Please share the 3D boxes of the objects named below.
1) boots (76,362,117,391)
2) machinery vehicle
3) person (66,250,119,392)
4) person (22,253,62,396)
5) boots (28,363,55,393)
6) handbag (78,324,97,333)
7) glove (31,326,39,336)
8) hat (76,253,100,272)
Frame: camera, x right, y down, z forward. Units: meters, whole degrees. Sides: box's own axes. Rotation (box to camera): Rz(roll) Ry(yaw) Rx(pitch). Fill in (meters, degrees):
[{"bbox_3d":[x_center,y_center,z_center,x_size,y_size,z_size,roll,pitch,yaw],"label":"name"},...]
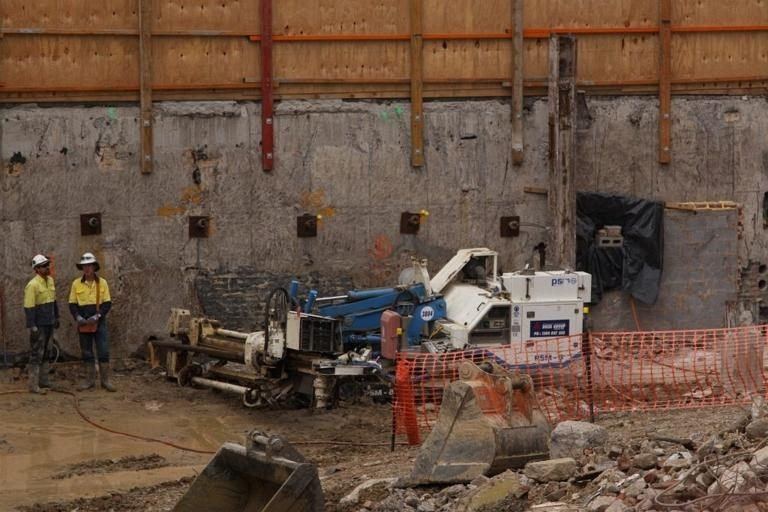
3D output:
[{"bbox_3d":[-5.283,2.236,22.061,0.704,0.584,0.527,2,-2,-16],"label":"boots"},{"bbox_3d":[-0.385,2.011,21.406,7.190,2.776,3.194,-2,7,-12],"label":"machinery vehicle"},{"bbox_3d":[-5.402,1.214,22.153,0.772,2.521,1.317,1,0,-15],"label":"person"},{"bbox_3d":[-6.261,1.225,21.922,0.566,2.463,1.198,1,0,-16],"label":"person"},{"bbox_3d":[-6.204,2.227,21.712,0.427,0.510,0.511,-3,-5,26],"label":"boots"},{"bbox_3d":[-5.329,1.307,21.565,0.254,0.159,0.240,2,1,-14],"label":"handbag"},{"bbox_3d":[-6.246,1.351,21.414,0.110,0.156,0.077,-1,1,-6],"label":"glove"},{"bbox_3d":[-5.391,0.107,21.884,0.379,0.256,0.480,-1,-9,-6],"label":"hat"}]
